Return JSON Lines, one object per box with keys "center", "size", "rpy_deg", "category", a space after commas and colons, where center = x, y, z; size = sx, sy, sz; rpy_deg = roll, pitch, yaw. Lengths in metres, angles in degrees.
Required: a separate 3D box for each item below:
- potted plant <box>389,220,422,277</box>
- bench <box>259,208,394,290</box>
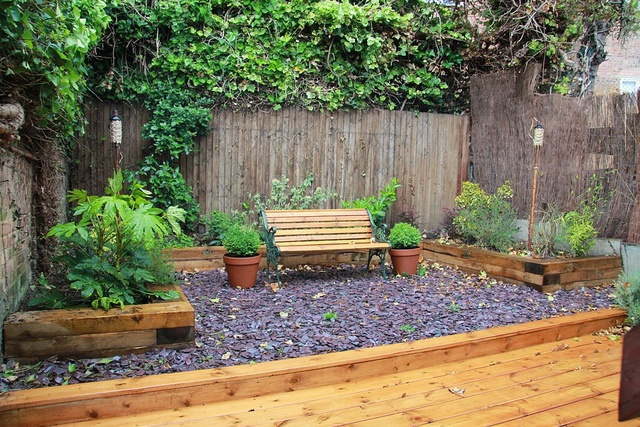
{"center": [1.256, 0.534, 6.898], "size": [0.491, 0.722, 0.405], "rpy_deg": [2, 12, 4], "category": "potted plant"}
{"center": [0.104, 0.436, 6.784], "size": [1.842, 0.928, 0.828], "rpy_deg": [-1, 8, -30], "category": "bench"}
